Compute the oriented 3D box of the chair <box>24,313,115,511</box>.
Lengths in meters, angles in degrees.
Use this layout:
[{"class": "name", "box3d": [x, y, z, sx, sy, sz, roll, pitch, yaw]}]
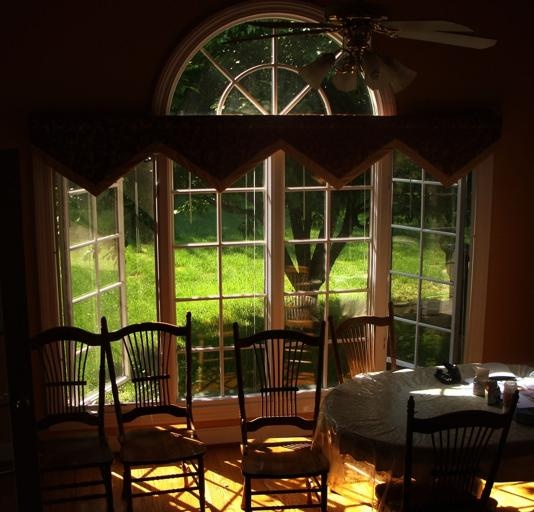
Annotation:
[{"class": "chair", "box3d": [-1.092, 0.911, 3.171, 0.462, 1.029, 1.096, 3, -6, -23]}]
